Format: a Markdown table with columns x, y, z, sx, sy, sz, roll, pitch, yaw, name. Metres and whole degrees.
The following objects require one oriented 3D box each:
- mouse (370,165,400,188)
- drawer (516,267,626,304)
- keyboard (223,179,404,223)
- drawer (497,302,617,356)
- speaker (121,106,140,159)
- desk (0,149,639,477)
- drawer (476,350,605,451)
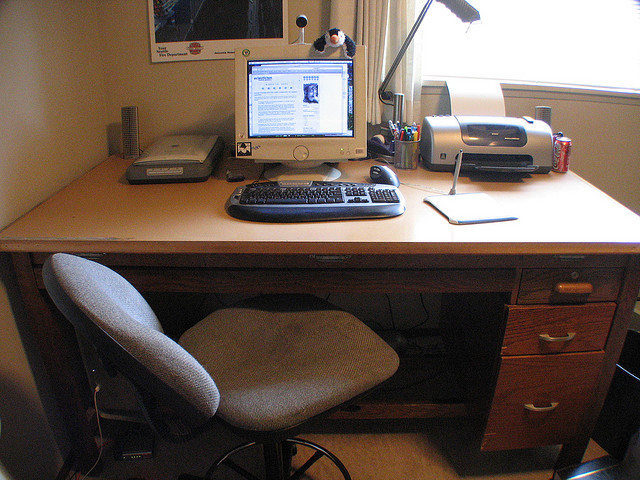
| x | y | z | sx | sy | sz | roll | pitch | yaw | name |
| --- | --- | --- | --- | --- | --- | --- | --- | --- | --- |
| 0.243 | -0.245 | 2.025 | 0.063 | 0.041 | 0.114 | -11 | 28 | -31 | mouse |
| 0.814 | 0.149 | 1.757 | 0.346 | 0.136 | 0.038 | -3 | 29 | -2 | drawer |
| -0.029 | -0.156 | 1.912 | 0.620 | 0.061 | 0.314 | -4 | 28 | -3 | keyboard |
| 0.784 | 0.289 | 1.796 | 0.388 | 0.175 | 0.053 | -4 | 29 | -3 | drawer |
| -0.816 | -0.459 | 2.296 | 0.085 | 0.208 | 0.099 | 3 | 13 | -1 | speaker |
| 0.096 | 0.675 | 2.568 | 2.657 | 1.640 | 1.019 | 0 | 41 | 0 | desk |
| 0.755 | 0.538 | 1.944 | 0.345 | 0.292 | 0.392 | 1 | 22 | 3 | drawer |
